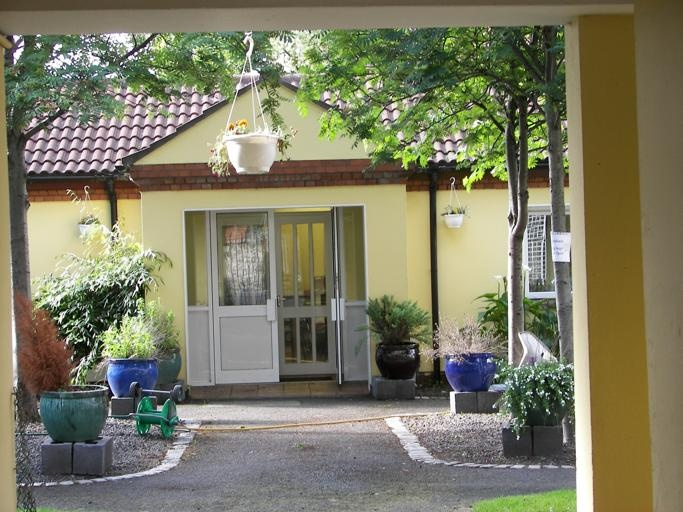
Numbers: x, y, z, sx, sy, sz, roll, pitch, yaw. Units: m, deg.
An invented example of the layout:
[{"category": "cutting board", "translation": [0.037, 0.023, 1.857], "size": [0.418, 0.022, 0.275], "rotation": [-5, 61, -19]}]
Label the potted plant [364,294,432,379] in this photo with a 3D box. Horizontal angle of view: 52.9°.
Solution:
[{"category": "potted plant", "translation": [0.812, 1.196, 10.564], "size": [0.996, 1.396, 1.176], "rotation": [-1, -4, 1]}]

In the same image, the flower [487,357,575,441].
[{"category": "flower", "translation": [1.935, 1.381, 6.941], "size": [0.674, 0.565, 0.733], "rotation": [-1, -1, -6]}]

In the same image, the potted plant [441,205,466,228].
[{"category": "potted plant", "translation": [1.852, -0.627, 11.315], "size": [0.347, 0.279, 0.319], "rotation": [-4, -10, 38]}]

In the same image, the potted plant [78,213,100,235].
[{"category": "potted plant", "translation": [-4.085, -0.513, 11.154], "size": [0.315, 0.345, 0.335], "rotation": [0, 5, -12]}]

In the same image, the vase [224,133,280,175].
[{"category": "vase", "translation": [-1.027, -1.164, 7.856], "size": [0.451, 0.336, 0.445], "rotation": [-2, 0, 0]}]

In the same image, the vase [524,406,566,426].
[{"category": "vase", "translation": [2.001, 1.599, 6.832], "size": [0.328, 0.256, 0.193], "rotation": [0, -7, 1]}]

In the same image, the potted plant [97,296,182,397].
[{"category": "potted plant", "translation": [-2.717, 1.278, 9.388], "size": [1.315, 1.557, 1.041], "rotation": [0, -5, -13]}]

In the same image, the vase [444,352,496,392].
[{"category": "vase", "translation": [1.638, 1.486, 8.939], "size": [0.495, 0.380, 0.514], "rotation": [0, -11, -2]}]

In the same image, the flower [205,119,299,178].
[{"category": "flower", "translation": [-1.080, -1.169, 8.075], "size": [1.062, 0.495, 0.937], "rotation": [-15, -9, 43]}]

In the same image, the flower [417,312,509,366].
[{"category": "flower", "translation": [1.569, 1.103, 9.267], "size": [0.872, 0.441, 0.942], "rotation": [-1, 1, -6]}]
